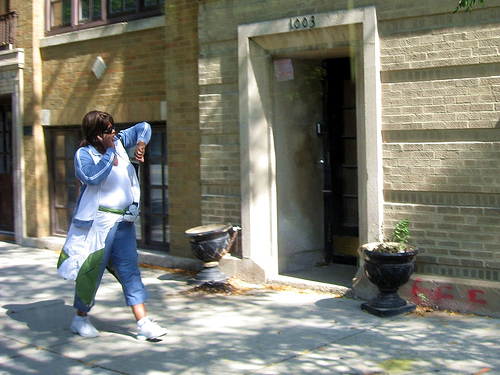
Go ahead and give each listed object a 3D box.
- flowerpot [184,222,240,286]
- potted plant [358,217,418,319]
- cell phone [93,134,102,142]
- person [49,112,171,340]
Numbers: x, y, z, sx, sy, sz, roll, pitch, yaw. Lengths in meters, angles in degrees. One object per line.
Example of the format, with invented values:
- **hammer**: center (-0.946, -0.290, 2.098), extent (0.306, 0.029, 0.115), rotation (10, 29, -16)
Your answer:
- **flowerpot**: center (-0.576, 1.028, 6.594), extent (0.721, 0.888, 0.500), rotation (-4, 4, -42)
- **potted plant**: center (1.703, 0.968, 5.253), extent (0.675, 1.129, 0.626), rotation (-1, 3, 12)
- **cell phone**: center (-1.551, -0.501, 4.361), extent (0.073, 0.071, 0.016), rotation (37, 26, -33)
- **person**: center (-1.462, 0.421, 4.447), extent (1.003, 2.363, 0.579), rotation (-3, 3, -21)
